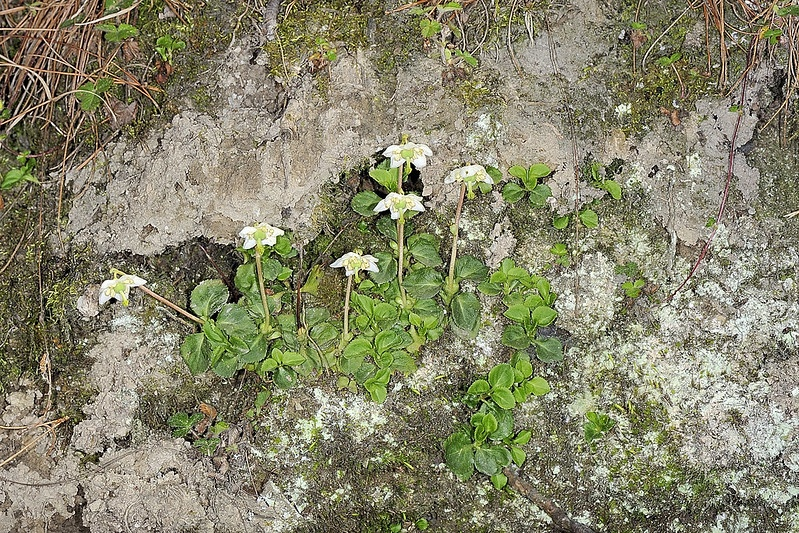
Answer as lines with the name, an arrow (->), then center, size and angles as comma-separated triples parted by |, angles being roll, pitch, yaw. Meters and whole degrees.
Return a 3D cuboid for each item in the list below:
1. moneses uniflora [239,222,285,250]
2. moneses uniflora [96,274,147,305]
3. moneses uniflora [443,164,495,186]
moneses uniflora -> -1.040, -0.257, 5.600 | 0.236, 0.251, 0.122 | -19, 29, -14
moneses uniflora -> -2.058, 0.157, 5.521 | 0.285, 0.148, 0.246 | -17, 46, -17
moneses uniflora -> 0.528, -0.676, 5.741 | 0.345, 0.252, 0.162 | 1, 71, 5
